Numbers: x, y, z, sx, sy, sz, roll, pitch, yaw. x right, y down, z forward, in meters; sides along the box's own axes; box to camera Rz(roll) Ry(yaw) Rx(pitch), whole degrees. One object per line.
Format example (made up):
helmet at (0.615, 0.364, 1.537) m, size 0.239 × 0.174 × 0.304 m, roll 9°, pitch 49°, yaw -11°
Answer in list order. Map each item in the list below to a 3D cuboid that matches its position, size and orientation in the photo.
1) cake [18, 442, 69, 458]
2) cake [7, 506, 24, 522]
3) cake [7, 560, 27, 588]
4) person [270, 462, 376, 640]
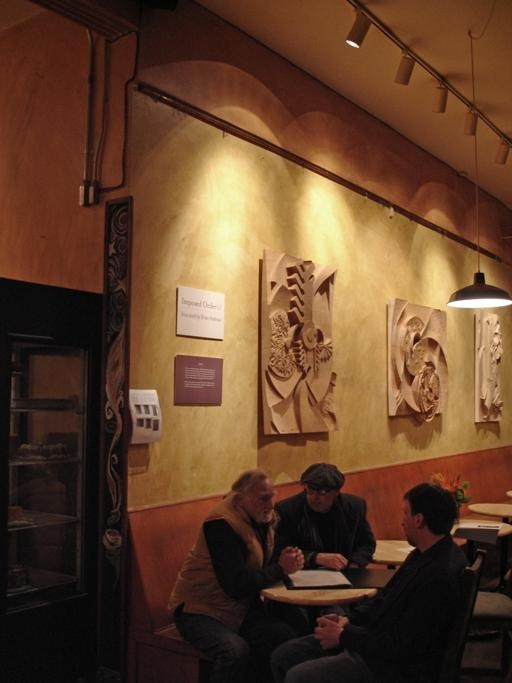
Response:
cake at (-1.040, 0.538, 2.741) m, size 0.244 × 0.074 × 0.090 m, roll 3°, pitch -3°, yaw -37°
cake at (-1.103, 0.791, 2.557) m, size 0.055 × 0.079 × 0.060 m, roll 2°, pitch 1°, yaw -23°
cake at (-1.100, 1.075, 2.588) m, size 0.069 × 0.081 × 0.087 m, roll 4°, pitch -6°, yaw -1°
person at (0.413, 1.333, 3.166) m, size 0.481 × 1.294 × 0.502 m, roll -3°, pitch -4°, yaw -20°
